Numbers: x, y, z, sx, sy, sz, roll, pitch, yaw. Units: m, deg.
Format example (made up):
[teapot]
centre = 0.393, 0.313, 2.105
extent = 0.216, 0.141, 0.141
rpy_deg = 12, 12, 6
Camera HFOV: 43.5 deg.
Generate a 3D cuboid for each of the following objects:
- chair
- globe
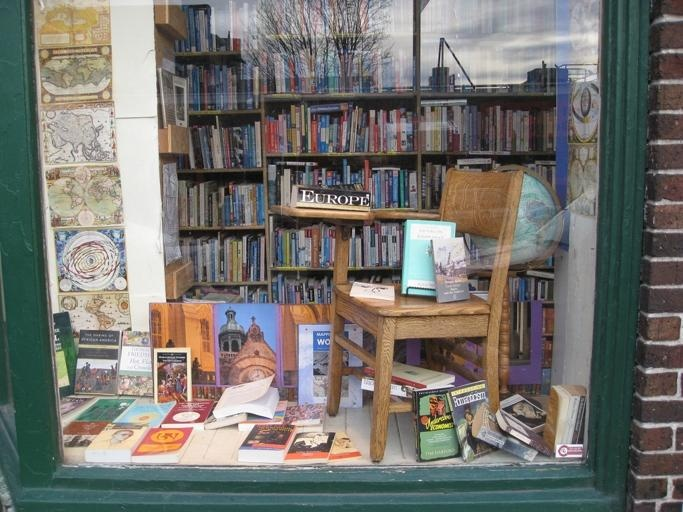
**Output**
[chair]
centre = 0.337, 0.222, 3.706
extent = 0.843, 1.137, 0.571
rpy_deg = -6, 9, -11
[globe]
centre = 0.708, 0.126, 3.866
extent = 0.570, 0.887, 0.590
rpy_deg = 0, 1, -16
